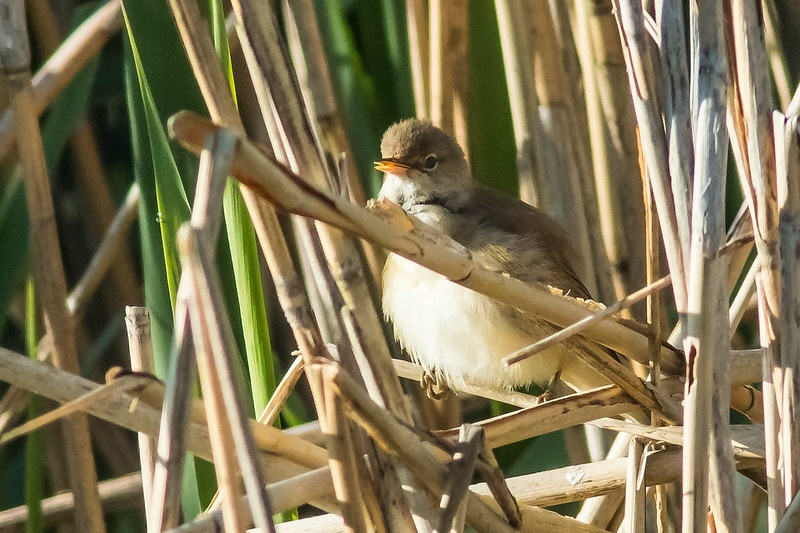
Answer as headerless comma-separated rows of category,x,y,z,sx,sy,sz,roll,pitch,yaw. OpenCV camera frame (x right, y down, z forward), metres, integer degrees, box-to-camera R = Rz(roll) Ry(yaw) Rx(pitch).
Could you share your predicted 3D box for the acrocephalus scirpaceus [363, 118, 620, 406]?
acrocephalus scirpaceus,0.330,0.013,4.549,0.936,0.890,0.536,-7,6,-44
